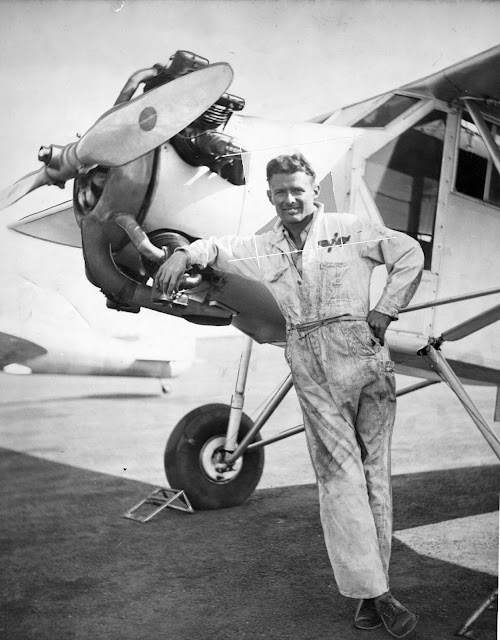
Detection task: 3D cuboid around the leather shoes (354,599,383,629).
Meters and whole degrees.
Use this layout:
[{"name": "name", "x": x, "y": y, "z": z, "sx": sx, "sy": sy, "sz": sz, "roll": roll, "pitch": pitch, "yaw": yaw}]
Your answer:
[{"name": "leather shoes", "x": 0.364, "y": 0.915, "z": 1.957, "sx": 0.048, "sy": 0.051, "sz": 0.136, "roll": -1, "pitch": -11, "yaw": 4}]

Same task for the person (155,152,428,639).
[{"name": "person", "x": 0.177, "y": 0.147, "z": 1.997, "sx": 0.690, "sy": 1.321, "sz": 0.237, "roll": 9, "pitch": 11, "yaw": 23}]

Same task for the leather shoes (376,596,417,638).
[{"name": "leather shoes", "x": 0.428, "y": 0.893, "z": 1.951, "sx": 0.072, "sy": 0.072, "sz": 0.184, "roll": -37, "pitch": 4, "yaw": -10}]
